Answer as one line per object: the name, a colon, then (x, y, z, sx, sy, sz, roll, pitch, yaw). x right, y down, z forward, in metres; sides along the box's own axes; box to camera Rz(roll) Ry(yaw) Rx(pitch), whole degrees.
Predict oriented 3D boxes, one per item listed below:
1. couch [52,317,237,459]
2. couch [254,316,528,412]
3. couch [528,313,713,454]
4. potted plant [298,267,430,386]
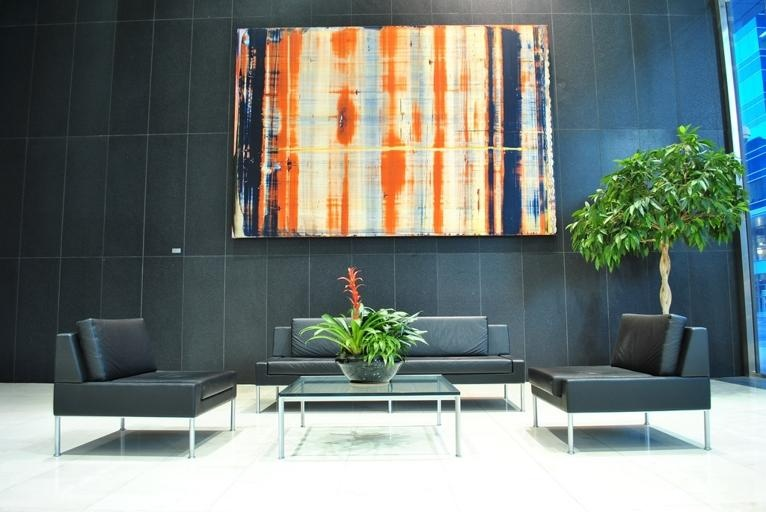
couch: (-2.673, 1.453, 7.841, 1.645, 1.416, 2.000, 0, -6, 5)
couch: (0.100, 1.376, 8.768, 3.357, 1.214, 1.105, 0, -7, -2)
couch: (2.662, 1.370, 7.767, 1.587, 1.415, 1.802, 0, -5, -2)
potted plant: (-0.152, 0.816, 7.879, 1.367, 1.203, 1.402, -1, -3, 28)
